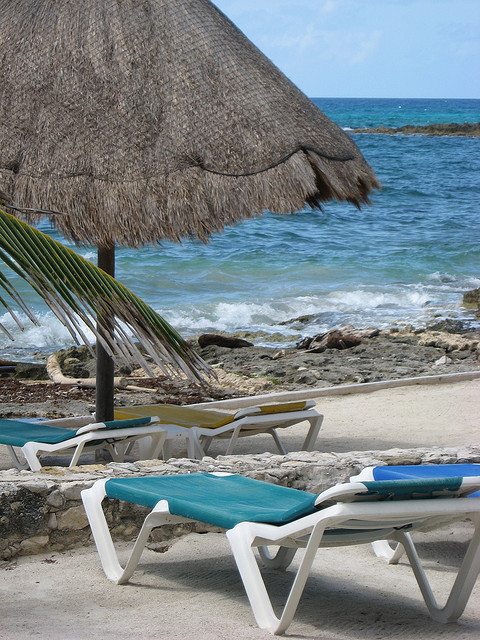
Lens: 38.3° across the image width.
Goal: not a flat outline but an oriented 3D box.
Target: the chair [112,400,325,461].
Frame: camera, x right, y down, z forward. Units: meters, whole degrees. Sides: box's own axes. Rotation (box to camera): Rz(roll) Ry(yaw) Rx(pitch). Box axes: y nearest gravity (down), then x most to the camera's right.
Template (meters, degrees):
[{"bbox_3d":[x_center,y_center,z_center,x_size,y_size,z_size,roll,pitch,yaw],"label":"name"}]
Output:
[{"bbox_3d":[-0.238,0.656,5.037,1.279,0.400,0.633,6,5,42],"label":"chair"}]

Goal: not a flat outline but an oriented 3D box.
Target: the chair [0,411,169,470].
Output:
[{"bbox_3d":[-0.964,0.772,4.404,0.444,0.276,1.176,2,4,-39],"label":"chair"}]
